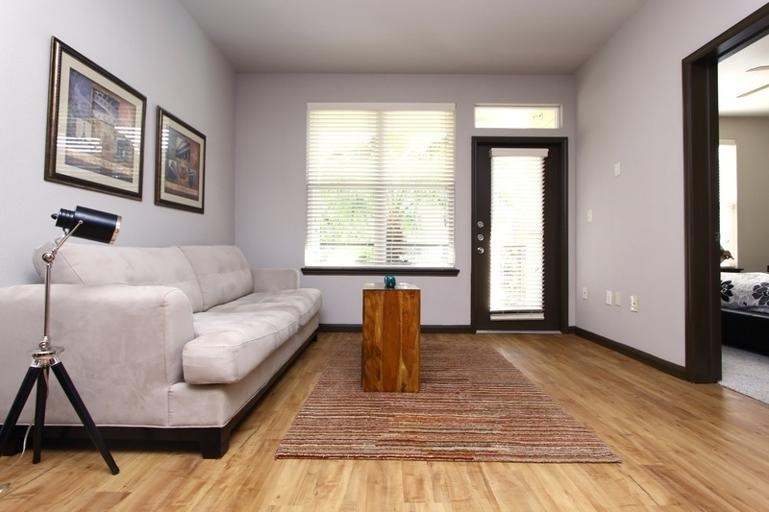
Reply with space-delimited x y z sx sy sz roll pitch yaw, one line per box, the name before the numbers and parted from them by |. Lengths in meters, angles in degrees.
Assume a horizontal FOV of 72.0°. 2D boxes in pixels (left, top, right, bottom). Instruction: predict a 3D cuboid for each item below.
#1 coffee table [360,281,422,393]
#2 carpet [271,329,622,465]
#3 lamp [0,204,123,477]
coffee table | 0.149 0.709 4.612 0.604 1.190 0.966 2 -18 1
carpet | 0.401 1.155 3.972 2.152 0.175 1.166 1 8 1
lamp | -2.051 0.518 3.333 0.776 1.655 0.400 0 9 -3
